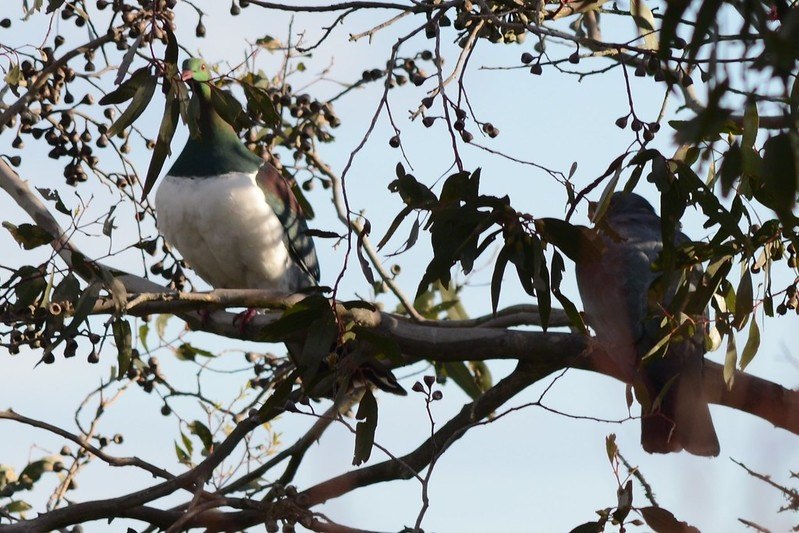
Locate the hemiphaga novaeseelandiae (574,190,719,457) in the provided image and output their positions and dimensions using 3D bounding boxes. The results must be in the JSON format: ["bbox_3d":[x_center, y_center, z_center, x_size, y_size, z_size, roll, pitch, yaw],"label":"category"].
[{"bbox_3d":[1.035,0.238,6.315,0.340,1.035,0.585,-18,-46,11],"label":"hemiphaga novaeseelandiae"}]
